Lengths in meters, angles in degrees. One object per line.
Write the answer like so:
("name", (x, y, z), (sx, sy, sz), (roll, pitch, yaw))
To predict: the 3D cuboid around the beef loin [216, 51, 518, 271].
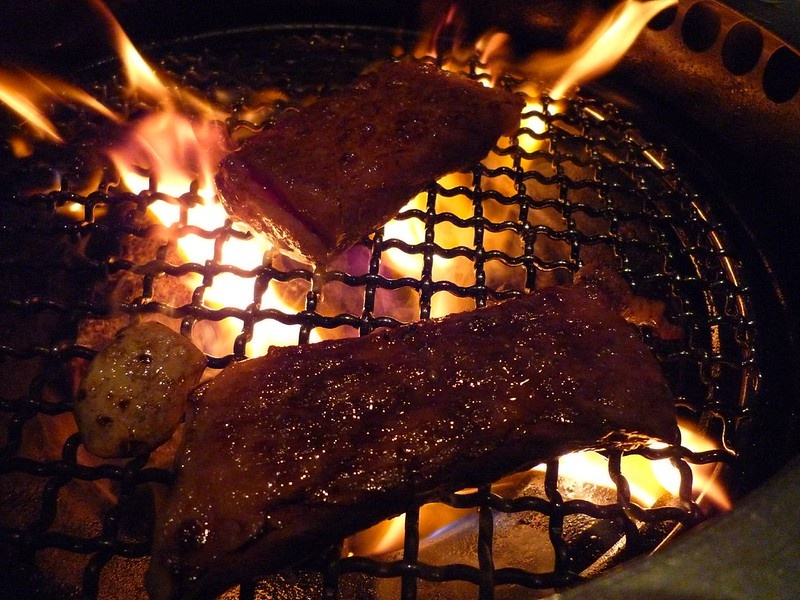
("beef loin", (-0.092, -0.707, 4.002), (1.263, 0.324, 0.768), (-34, 61, -25))
